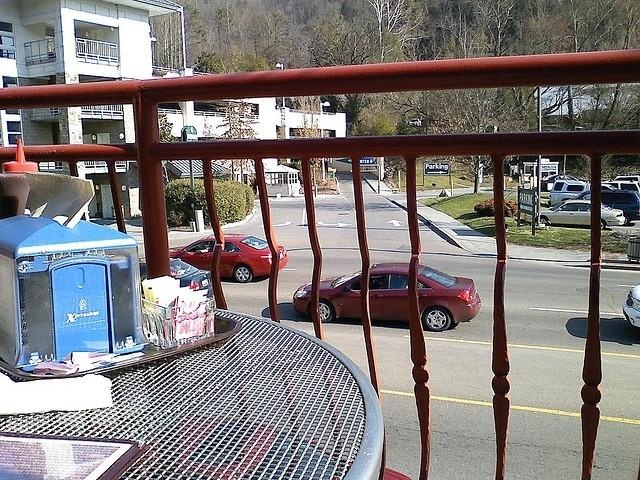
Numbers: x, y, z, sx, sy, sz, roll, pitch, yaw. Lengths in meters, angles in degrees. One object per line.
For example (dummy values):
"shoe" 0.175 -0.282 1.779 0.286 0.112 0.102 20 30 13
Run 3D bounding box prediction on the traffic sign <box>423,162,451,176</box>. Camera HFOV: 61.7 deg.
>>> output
"traffic sign" 9.908 -6.005 45.564 1.253 0.916 2.774 -7 13 -24

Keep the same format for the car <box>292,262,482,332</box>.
"car" 1.244 1.120 11.010 3.623 1.140 1.638 2 3 11

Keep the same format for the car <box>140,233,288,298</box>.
"car" -2.733 0.705 15.181 3.867 1.308 1.691 4 7 10
